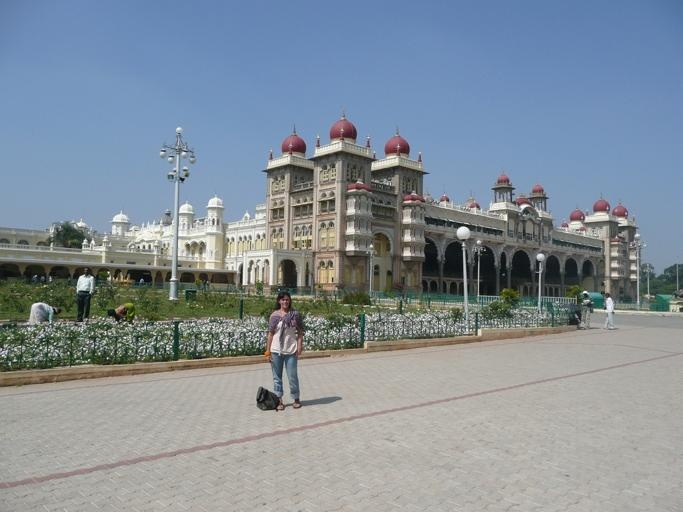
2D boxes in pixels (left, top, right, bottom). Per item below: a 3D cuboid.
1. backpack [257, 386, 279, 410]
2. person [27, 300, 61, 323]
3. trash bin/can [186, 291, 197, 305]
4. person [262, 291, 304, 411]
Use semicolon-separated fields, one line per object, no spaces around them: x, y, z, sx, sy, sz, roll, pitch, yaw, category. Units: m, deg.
-1.131;2.192;9.548;0.354;0.362;0.231;-2;-2;-9;backpack
-6.792;1.279;14.155;0.494;0.429;0.804;0;0;-2;person
-6.837;1.843;28.457;0.601;0.587;0.455;3;-12;-24;trash bin/can
-0.930;1.453;9.990;0.558;1.799;1.063;0;0;-6;person
